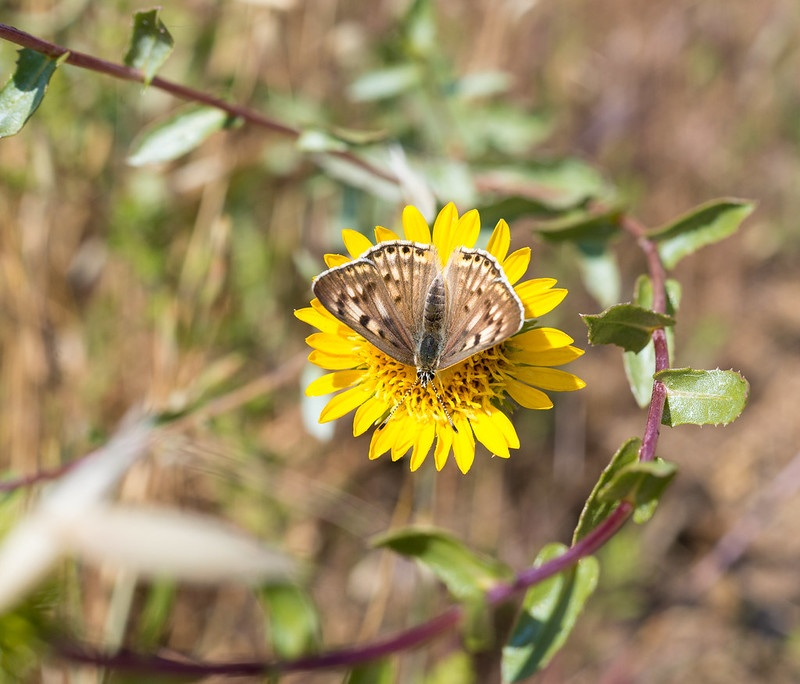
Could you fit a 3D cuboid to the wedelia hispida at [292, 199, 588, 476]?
[{"bbox_3d":[0.081,-0.080,3.049,1.036,0.315,1.174,9,48,-26],"label":"wedelia hispida"}]
